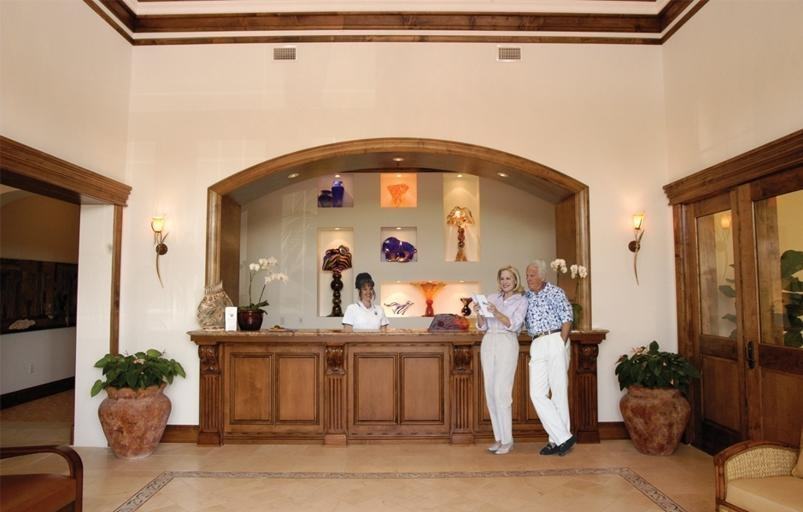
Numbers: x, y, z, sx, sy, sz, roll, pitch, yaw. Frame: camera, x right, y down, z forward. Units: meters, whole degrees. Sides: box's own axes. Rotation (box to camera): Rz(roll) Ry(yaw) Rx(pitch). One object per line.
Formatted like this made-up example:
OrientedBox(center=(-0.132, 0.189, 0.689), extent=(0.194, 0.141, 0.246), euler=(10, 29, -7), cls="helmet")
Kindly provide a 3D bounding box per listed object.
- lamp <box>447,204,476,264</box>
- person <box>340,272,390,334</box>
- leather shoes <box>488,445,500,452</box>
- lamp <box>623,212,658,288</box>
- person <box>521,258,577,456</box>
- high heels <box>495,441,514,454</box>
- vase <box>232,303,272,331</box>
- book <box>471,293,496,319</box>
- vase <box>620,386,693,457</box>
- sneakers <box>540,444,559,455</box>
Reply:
OrientedBox(center=(1.098, -0.409, 10.620), extent=(0.480, 0.939, 0.379), euler=(-4, 11, -20), cls="lamp")
OrientedBox(center=(-0.494, 0.615, 7.886), extent=(0.587, 0.774, 0.356), euler=(-2, 10, -8), cls="person")
OrientedBox(center=(1.179, 2.488, 7.470), extent=(0.173, 0.075, 0.062), euler=(-2, -9, 27), cls="leather shoes")
OrientedBox(center=(3.243, -0.098, 8.108), extent=(0.186, 0.935, 0.268), euler=(7, 12, 34), cls="lamp")
OrientedBox(center=(1.857, 1.297, 7.295), extent=(0.627, 2.388, 0.510), euler=(1, 10, 9), cls="person")
OrientedBox(center=(1.343, 2.486, 7.488), extent=(0.278, 0.118, 0.101), euler=(3, -9, -27), cls="high heels")
OrientedBox(center=(-2.061, 0.863, 8.153), extent=(0.383, 0.446, 0.410), euler=(6, -4, -42), cls="vase")
OrientedBox(center=(0.996, 0.645, 7.349), extent=(0.266, 0.271, 0.079), euler=(-3, -9, -22), cls="book")
OrientedBox(center=(3.215, 2.133, 7.689), extent=(0.836, 0.815, 0.838), euler=(-1, -1, 2), cls="vase")
OrientedBox(center=(1.866, 2.475, 7.439), extent=(0.272, 0.107, 0.105), euler=(1, 0, -15), cls="sneakers")
